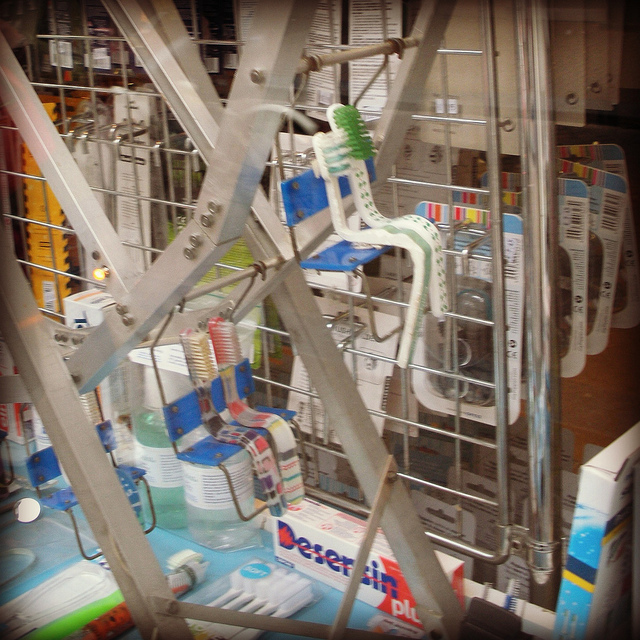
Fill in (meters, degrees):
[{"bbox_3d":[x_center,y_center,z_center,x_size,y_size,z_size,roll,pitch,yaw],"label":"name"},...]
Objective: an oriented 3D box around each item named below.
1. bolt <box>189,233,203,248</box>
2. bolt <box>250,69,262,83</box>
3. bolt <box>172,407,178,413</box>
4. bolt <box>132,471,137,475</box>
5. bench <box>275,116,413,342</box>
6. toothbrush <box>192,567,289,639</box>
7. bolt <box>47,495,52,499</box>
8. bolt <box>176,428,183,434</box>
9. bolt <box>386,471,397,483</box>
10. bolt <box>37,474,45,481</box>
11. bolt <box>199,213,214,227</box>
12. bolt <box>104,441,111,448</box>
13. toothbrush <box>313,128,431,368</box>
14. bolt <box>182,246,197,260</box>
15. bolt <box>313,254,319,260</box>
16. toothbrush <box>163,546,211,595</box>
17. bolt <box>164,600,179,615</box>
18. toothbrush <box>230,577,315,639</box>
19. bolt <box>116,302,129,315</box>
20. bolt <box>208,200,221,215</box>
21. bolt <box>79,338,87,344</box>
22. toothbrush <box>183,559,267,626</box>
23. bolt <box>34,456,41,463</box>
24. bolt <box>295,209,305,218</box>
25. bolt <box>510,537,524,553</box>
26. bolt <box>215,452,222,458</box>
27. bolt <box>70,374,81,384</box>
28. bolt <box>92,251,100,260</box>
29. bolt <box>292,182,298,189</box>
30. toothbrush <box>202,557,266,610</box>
[{"bbox_3d":[-0.104,-0.068,0.545,0.014,0.012,0.003,9,20,38],"label":"bolt"},{"bbox_3d":[-0.047,-0.181,0.479,0.004,0.008,0.010,-6,0,-42],"label":"bolt"},{"bbox_3d":[-0.137,0.085,0.615,0.005,0.004,0.003,-6,15,-14],"label":"bolt"},{"bbox_3d":[-0.186,0.154,0.649,0.006,0.001,0.005,1,3,2],"label":"bolt"},{"bbox_3d":[0.021,-0.095,0.616,0.096,0.210,0.164,9,39,31],"label":"bench"},{"bbox_3d":[-0.066,0.271,0.619,0.022,0.014,0.125,9,17,37],"label":"toothbrush"},{"bbox_3d":[-0.265,0.175,0.636,0.004,0.003,0.004,6,-13,-18],"label":"bolt"},{"bbox_3d":[-0.134,0.107,0.621,0.006,0.008,0.003,-7,16,-18],"label":"bolt"},{"bbox_3d":[0.076,0.167,0.687,0.005,0.014,0.018,7,17,32],"label":"bolt"},{"bbox_3d":[-0.275,0.157,0.642,0.006,0.006,0.001,-27,11,-5],"label":"bolt"},{"bbox_3d":[-0.092,-0.084,0.532,0.014,0.012,0.008,2,11,39],"label":"bolt"},{"bbox_3d":[-0.207,0.123,0.632,0.001,0.005,0.006,7,1,45],"label":"bolt"},{"bbox_3d":[0.046,-0.052,0.558,0.085,0.225,0.084,-5,16,-8],"label":"toothbrush"},{"bbox_3d":[-0.111,-0.058,0.551,0.014,0.012,0.003,8,19,35],"label":"bolt"},{"bbox_3d":[-0.004,-0.063,0.636,0.006,0.001,0.005,-18,26,-11],"label":"bolt"},{"bbox_3d":[-0.129,0.237,0.615,0.031,0.026,0.048,12,19,43],"label":"toothbrush"},{"bbox_3d":[-0.133,0.260,0.583,0.014,0.010,0.010,-9,16,-25],"label":"bolt"},{"bbox_3d":[-0.041,0.275,0.647,0.025,0.015,0.120,17,21,32],"label":"toothbrush"},{"bbox_3d":[-0.189,-0.011,0.619,0.015,0.012,0.003,6,18,29],"label":"bolt"},{"bbox_3d":[-0.085,-0.093,0.525,0.011,0.010,0.003,9,12,37],"label":"bolt"},{"bbox_3d":[-0.244,0.022,0.670,0.006,0.002,0.006,10,60,48],"label":"bolt"},{"bbox_3d":[-0.089,0.262,0.612,0.020,0.007,0.069,11,19,26],"label":"toothbrush"},{"bbox_3d":[-0.278,0.139,0.638,0.006,0.006,0.001,-35,17,8],"label":"bolt"},{"bbox_3d":[-0.018,-0.096,0.578,0.006,0.008,0.010,3,15,18],"label":"bolt"},{"bbox_3d":[0.241,0.278,0.793,0.017,0.022,0.003,7,19,32],"label":"bolt"},{"bbox_3d":[-0.099,0.133,0.635,0.008,0.004,0.004,1,15,9],"label":"bolt"},{"bbox_3d":[-0.250,0.060,0.666,0.012,0.006,0.011,10,-9,33],"label":"bolt"},{"bbox_3d":[-0.225,-0.067,0.653,0.009,0.008,0.002,4,4,43],"label":"bolt"},{"bbox_3d":[-0.022,-0.119,0.564,0.005,0.005,0.002,-3,9,-2],"label":"bolt"},{"bbox_3d":[-0.081,0.256,0.631,0.016,0.010,0.085,19,22,24],"label":"toothbrush"}]
